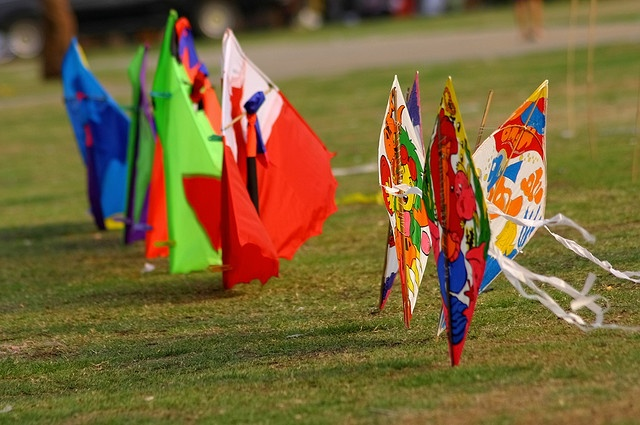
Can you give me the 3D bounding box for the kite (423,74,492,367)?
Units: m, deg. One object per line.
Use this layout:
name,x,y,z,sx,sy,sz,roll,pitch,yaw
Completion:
kite,1.172,0.134,11.734,0.628,2.472,0.271,6,15,41

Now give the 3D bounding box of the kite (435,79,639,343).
kite,1.770,-0.206,12.144,2.023,2.228,0.527,-17,23,-22

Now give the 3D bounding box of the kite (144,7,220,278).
kite,-1.368,-0.632,13.006,0.830,2.575,0.593,-6,12,-5

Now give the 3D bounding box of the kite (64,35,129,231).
kite,-2.262,-0.830,13.612,0.635,1.889,0.286,-6,12,-9

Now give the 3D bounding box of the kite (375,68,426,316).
kite,0.752,-0.078,12.216,0.482,2.335,0.547,-4,11,2

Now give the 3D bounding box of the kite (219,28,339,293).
kite,-0.562,-0.526,13.024,1.170,2.664,0.469,-15,-29,10
